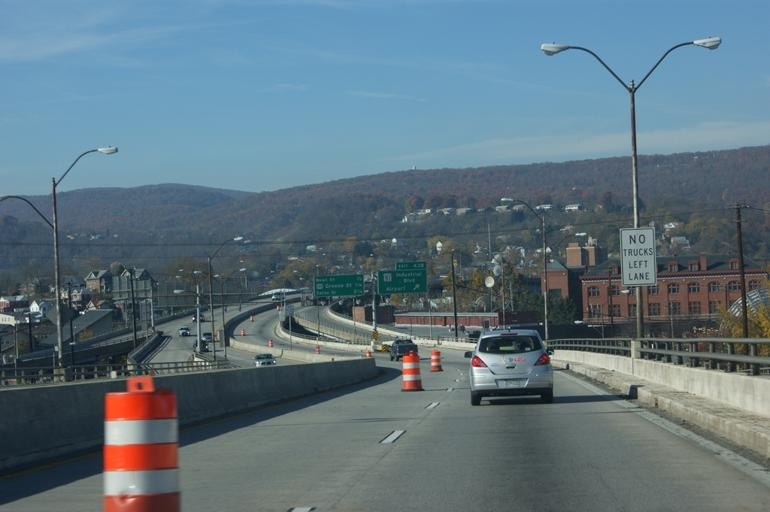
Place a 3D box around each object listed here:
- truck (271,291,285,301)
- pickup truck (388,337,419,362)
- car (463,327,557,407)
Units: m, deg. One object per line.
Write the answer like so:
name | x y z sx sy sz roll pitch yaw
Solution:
truck | -19.011 7.667 229.679 1.585 1.216 2.355 1 -6 -16
pickup truck | 1.362 7.470 96.972 1.547 1.340 2.858 -1 3 -3
car | 5.086 4.684 51.640 3.206 3.095 1.205 -1 1 3
